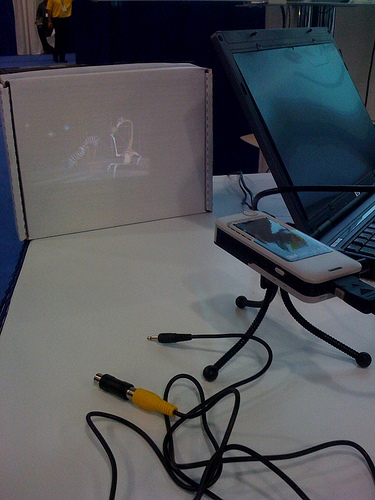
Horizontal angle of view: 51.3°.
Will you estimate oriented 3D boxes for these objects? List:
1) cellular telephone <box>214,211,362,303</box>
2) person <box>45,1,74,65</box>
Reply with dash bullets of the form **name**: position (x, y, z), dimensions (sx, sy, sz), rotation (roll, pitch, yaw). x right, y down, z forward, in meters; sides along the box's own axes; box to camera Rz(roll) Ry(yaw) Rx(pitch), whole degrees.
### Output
- **cellular telephone**: position (0.093, -0.003, 0.406), dimensions (0.076, 0.042, 0.168), rotation (-12, 36, -29)
- **person**: position (-2.292, -3.865, 7.005), dimensions (0.463, 0.996, 1.354), rotation (-8, 31, -17)
